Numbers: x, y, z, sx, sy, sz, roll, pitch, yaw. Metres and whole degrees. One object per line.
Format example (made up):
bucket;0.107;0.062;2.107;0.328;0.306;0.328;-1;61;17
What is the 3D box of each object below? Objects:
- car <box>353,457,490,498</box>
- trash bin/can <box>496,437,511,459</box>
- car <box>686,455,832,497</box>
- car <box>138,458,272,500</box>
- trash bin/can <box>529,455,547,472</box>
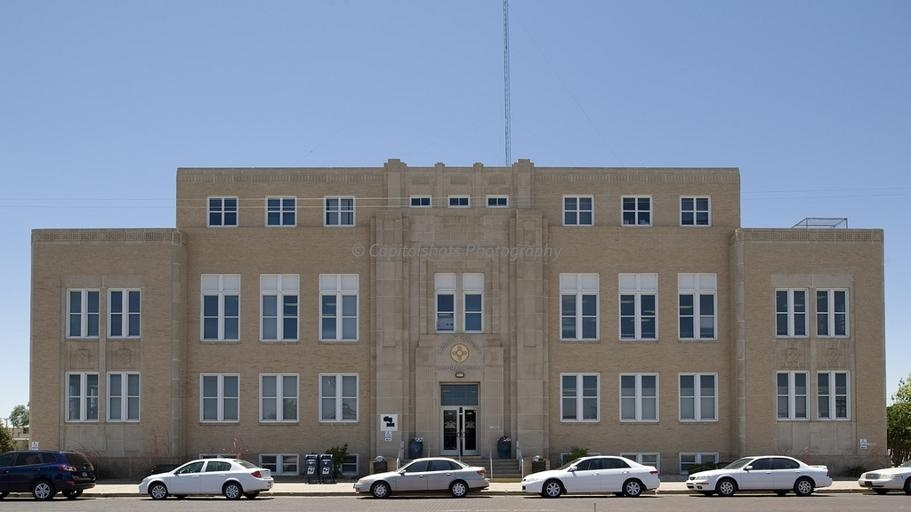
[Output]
car;-2.117;14.009;136.466;8.398;1.927;2.962;1;-12;1
trash bin/can;3.267;12.672;143.159;1.028;1.444;0.479;-2;-12;-4
car;19.233;13.858;135.729;8.386;2.592;1.377;-3;-12;5
car;-15.733;14.009;136.197;8.015;1.876;3.011;1;-12;1
trash bin/can;5.417;13.695;142.251;1.071;0.810;0.983;5;-10;-32
